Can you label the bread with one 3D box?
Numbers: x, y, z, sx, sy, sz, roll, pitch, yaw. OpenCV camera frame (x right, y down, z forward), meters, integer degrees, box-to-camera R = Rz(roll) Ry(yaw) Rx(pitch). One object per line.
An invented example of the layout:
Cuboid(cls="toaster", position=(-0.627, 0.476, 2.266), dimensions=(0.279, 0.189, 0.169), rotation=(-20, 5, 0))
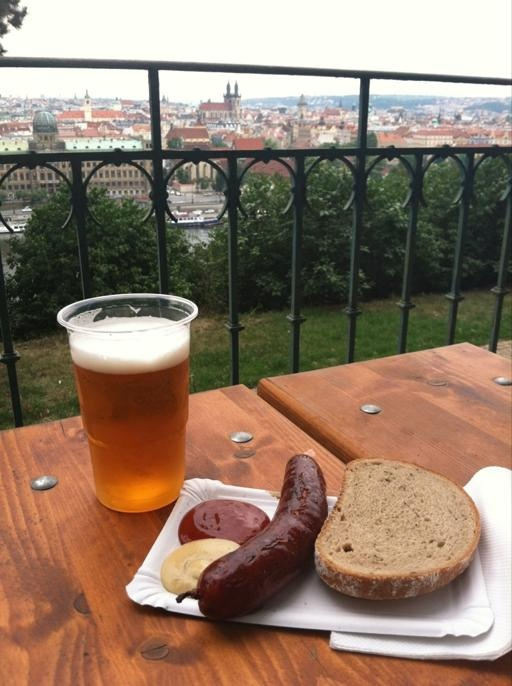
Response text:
Cuboid(cls="bread", position=(0.118, 0.149, 0.511), dimensions=(0.126, 0.066, 0.138), rotation=(-3, 11, -7))
